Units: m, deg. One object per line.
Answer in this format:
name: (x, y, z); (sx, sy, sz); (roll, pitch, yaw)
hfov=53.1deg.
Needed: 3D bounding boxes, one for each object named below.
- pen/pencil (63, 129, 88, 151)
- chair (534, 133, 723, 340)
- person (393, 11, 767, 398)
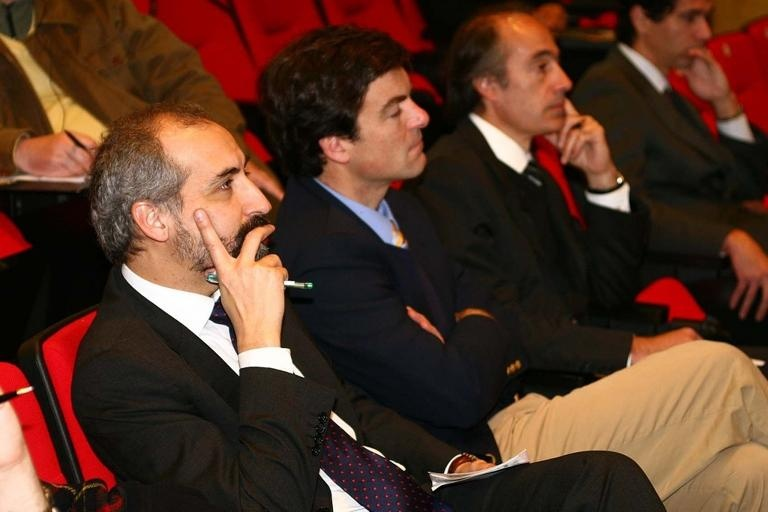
pen/pencil: (-1.224, -0.457, 2.993); (0.015, 0.109, 0.012); (-44, 23, -11)
chair: (1.120, -0.152, 3.762); (0.881, 1.163, 0.796); (-4, 17, 6)
person: (0.710, -0.182, 3.215); (1.041, 1.898, 1.528); (0, -3, -9)
